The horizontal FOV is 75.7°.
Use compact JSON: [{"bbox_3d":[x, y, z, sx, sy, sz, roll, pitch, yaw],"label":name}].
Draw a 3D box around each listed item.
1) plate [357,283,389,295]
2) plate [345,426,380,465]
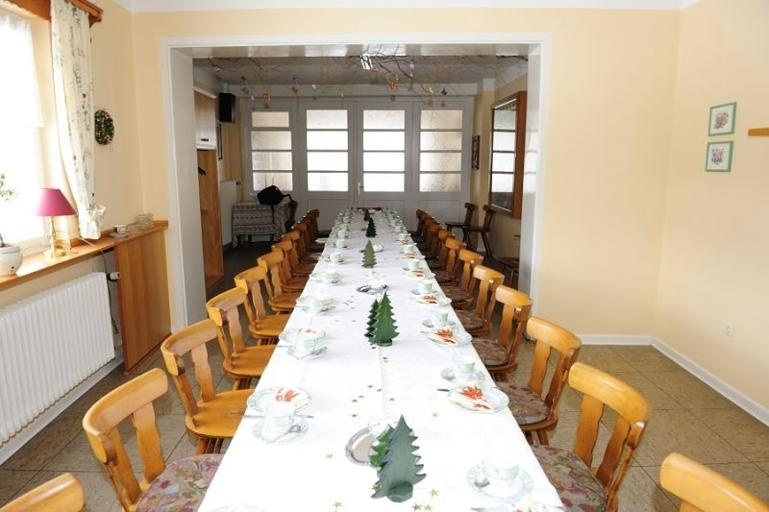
[{"bbox_3d":[-0.094,0.230,3.666,0.227,0.063,0.248,3,13,4],"label":"plate"},{"bbox_3d":[-0.105,0.828,2.171,0.127,0.072,0.186,5,14,13],"label":"plate"}]
